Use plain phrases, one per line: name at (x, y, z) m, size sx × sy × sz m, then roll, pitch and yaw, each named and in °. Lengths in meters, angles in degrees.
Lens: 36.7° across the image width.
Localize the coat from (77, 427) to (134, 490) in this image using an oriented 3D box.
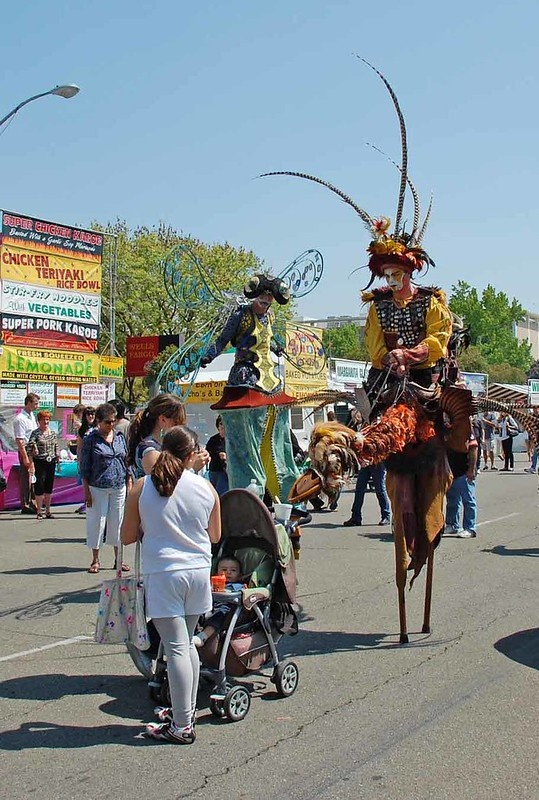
coat at (-1.550, 0.542, 7.736) m, size 0.571 × 0.546 × 0.322 m, roll 0°, pitch 0°, yaw -29°

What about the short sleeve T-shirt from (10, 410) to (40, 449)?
short sleeve T-shirt at (-3.725, 0.457, 12.339) m, size 0.355 × 0.580 × 0.741 m, roll -2°, pitch 1°, yaw 19°

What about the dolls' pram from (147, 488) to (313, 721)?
dolls' pram at (-0.233, 1.049, 4.432) m, size 0.700 × 1.096 × 0.820 m, roll 0°, pitch -2°, yaw 26°

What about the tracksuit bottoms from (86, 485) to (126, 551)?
tracksuit bottoms at (-1.540, 1.085, 7.667) m, size 0.336 × 0.652 × 0.230 m, roll 1°, pitch 5°, yaw -22°

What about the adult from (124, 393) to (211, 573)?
adult at (-0.672, 0.388, 5.127) m, size 0.508 × 0.846 × 0.234 m, roll 5°, pitch 20°, yaw -15°

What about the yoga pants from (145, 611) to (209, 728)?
yoga pants at (-0.402, 1.230, 3.649) m, size 0.222 × 0.430 × 0.174 m, roll 2°, pitch -1°, yaw -30°

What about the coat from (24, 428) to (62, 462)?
coat at (-3.400, 0.672, 12.070) m, size 0.578 × 0.509 × 0.326 m, roll 7°, pitch -19°, yaw -44°

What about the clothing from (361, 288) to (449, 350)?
clothing at (0.951, -0.560, 5.598) m, size 0.530 × 0.447 × 0.268 m, roll -1°, pitch 24°, yaw 14°

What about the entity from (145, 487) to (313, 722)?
entity at (-0.225, 1.062, 4.442) m, size 0.633 × 1.087 × 0.832 m, roll -2°, pitch -4°, yaw 34°

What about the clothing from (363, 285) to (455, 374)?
clothing at (0.965, -0.500, 5.580) m, size 0.593 × 0.507 × 0.318 m, roll -1°, pitch 12°, yaw 23°

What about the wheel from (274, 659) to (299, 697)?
wheel at (0.089, 1.505, 4.378) m, size 0.062 × 0.185 × 0.197 m, roll -11°, pitch 16°, yaw 31°

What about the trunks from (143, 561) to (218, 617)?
trunks at (-0.408, 0.850, 3.710) m, size 0.365 × 0.217 × 0.231 m, roll 1°, pitch -4°, yaw -31°

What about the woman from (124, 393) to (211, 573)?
woman at (-0.658, 0.430, 5.119) m, size 0.545 × 0.897 × 0.251 m, roll 6°, pitch 16°, yaw -9°

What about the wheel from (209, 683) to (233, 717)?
wheel at (-0.245, 1.503, 4.042) m, size 0.173 × 0.146 × 0.160 m, roll 0°, pitch -2°, yaw 0°

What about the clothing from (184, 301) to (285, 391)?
clothing at (-0.144, -0.406, 6.936) m, size 1.064 × 0.845 × 0.368 m, roll 0°, pitch -3°, yaw -43°

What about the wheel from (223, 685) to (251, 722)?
wheel at (-0.157, 1.508, 4.050) m, size 0.081 × 0.142 × 0.244 m, roll 1°, pitch -1°, yaw 30°

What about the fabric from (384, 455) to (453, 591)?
fabric at (1.012, 0.737, 5.536) m, size 0.398 × 1.190 × 0.327 m, roll 6°, pitch 20°, yaw 26°
